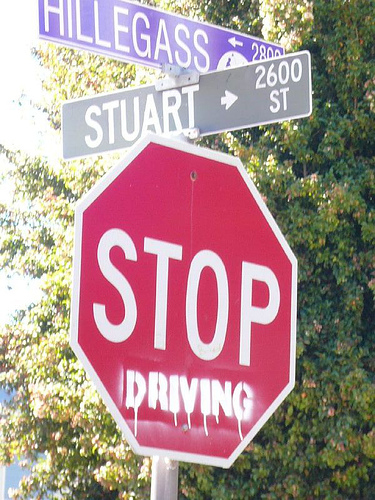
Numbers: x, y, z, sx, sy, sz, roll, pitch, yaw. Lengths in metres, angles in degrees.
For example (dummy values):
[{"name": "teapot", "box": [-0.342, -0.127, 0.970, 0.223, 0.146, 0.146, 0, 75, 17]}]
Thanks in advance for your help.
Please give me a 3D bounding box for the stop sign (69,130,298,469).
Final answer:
[{"name": "stop sign", "box": [-0.005, 0.109, 2.178, 0.484, 0.881, 0.031, 9, -45, -9]}]
